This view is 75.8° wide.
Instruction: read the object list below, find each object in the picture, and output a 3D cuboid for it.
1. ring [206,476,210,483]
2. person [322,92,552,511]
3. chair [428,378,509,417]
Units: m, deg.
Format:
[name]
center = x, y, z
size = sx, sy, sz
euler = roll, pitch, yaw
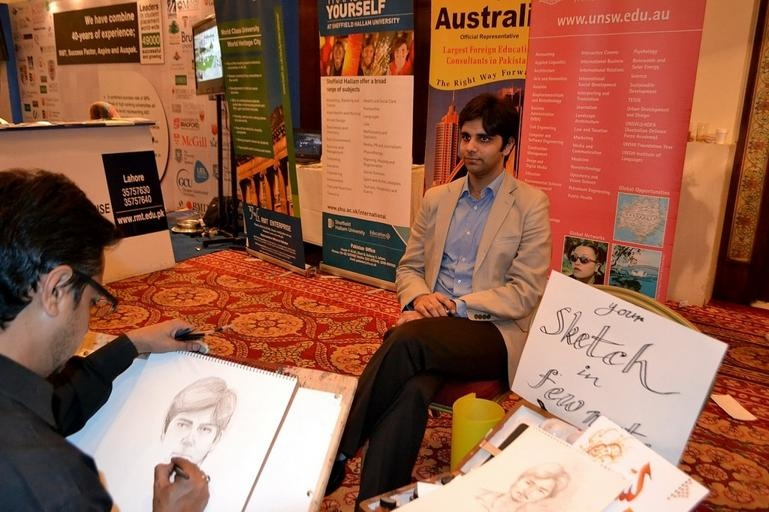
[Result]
[ring]
center = -0.536, 0.676, 1.504
size = 0.013, 0.018, 0.015
euler = 2, 12, 4
[person]
center = 0.354, 0.082, 2.446
size = 0.806, 1.604, 1.360
euler = 9, 23, 21
[chair]
center = 0.407, 0.662, 2.419
size = 0.202, 0.180, 0.248
euler = -14, 17, -34
